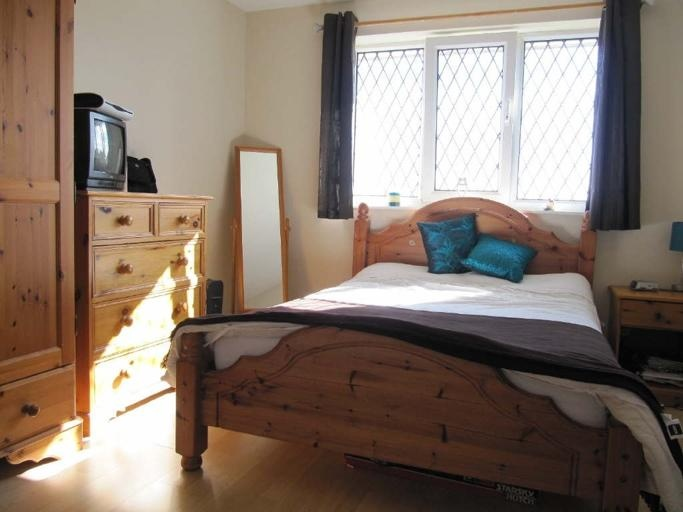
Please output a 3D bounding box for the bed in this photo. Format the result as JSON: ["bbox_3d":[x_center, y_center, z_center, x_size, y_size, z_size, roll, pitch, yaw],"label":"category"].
[{"bbox_3d":[0.584,0.559,3.194,1.718,1.196,1.967,3,5,24],"label":"bed"}]

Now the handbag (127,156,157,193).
[{"bbox_3d":[-1.352,-0.541,3.521,0.113,0.243,0.328,-1,12,4],"label":"handbag"}]
